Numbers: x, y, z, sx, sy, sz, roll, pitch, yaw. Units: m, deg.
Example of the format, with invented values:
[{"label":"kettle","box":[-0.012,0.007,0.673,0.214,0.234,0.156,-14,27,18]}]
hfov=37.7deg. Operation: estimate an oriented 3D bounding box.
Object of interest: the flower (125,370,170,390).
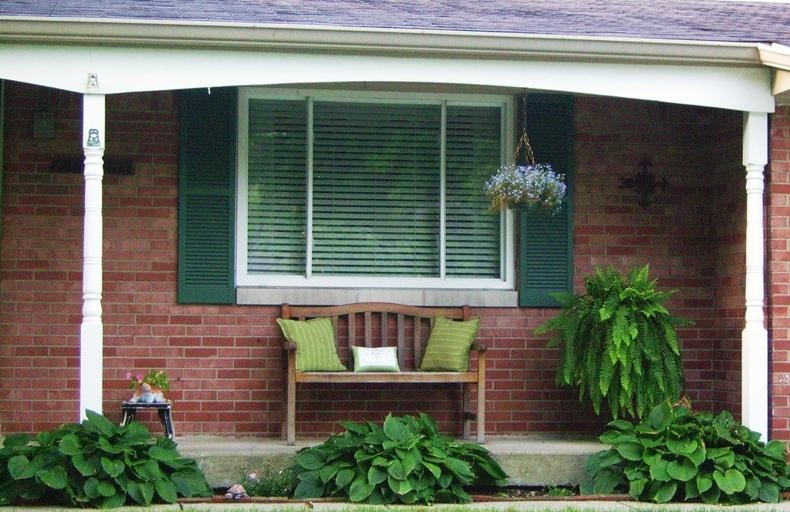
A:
[{"label":"flower","box":[-2.504,1.255,11.738,0.427,0.210,0.538,-1,-3,-12]}]

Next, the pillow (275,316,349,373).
[{"label":"pillow","box":[-0.842,0.913,11.778,0.629,0.549,0.333,1,-4,-43]}]

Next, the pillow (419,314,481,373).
[{"label":"pillow","box":[0.561,0.906,11.854,0.555,0.551,0.171,5,-16,45]}]

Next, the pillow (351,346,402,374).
[{"label":"pillow","box":[-0.203,1.028,11.727,0.464,0.254,0.479,-1,-3,-2]}]

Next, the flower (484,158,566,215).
[{"label":"flower","box":[1.353,-0.715,12.211,0.848,0.592,0.753,-1,2,-19]}]
